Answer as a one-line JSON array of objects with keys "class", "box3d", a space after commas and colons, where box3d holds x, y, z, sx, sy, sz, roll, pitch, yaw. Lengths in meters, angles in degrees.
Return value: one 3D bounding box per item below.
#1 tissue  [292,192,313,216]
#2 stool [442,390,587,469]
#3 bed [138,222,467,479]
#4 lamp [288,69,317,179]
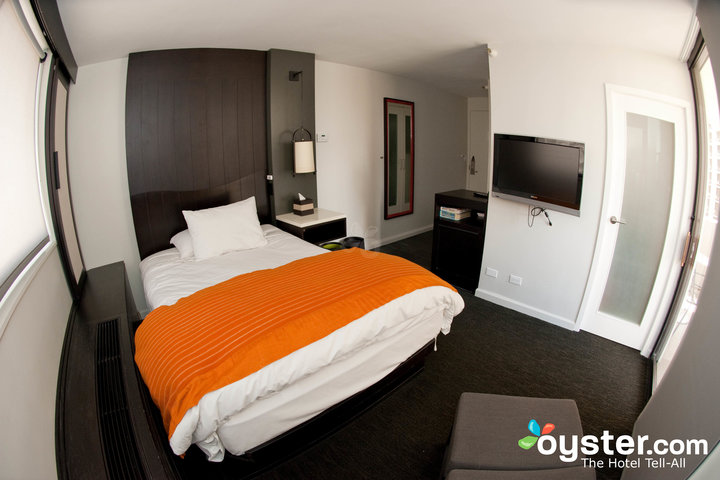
[{"class": "tissue ", "box3d": [-0.674, -0.461, 5.292, 0.236, 0.364, 0.241, 8, 14, 38]}, {"class": "stool", "box3d": [0.953, 1.248, 2.897, 0.642, 0.345, 0.498, 1, 16, 3]}, {"class": "bed", "box3d": [-0.652, 0.747, 4.083, 2.566, 1.072, 1.987, -13, 21, -31]}, {"class": "lamp", "box3d": [-0.683, -1.371, 5.207, 0.268, 1.210, 0.469, -4, 17, -8]}]
